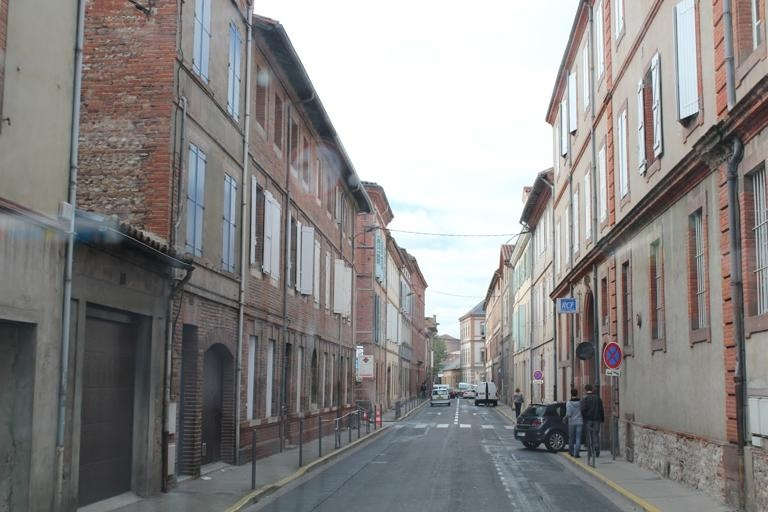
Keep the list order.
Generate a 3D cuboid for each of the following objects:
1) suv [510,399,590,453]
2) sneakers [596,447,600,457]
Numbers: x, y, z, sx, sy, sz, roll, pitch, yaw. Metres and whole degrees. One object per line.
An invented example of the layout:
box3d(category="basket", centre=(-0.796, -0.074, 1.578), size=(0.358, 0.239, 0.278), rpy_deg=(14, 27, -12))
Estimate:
box3d(category="suv", centre=(6.090, 6.331, 28.697), size=(2.141, 1.288, 1.365), rpy_deg=(2, -12, -23))
box3d(category="sneakers", centre=(7.301, 6.700, 26.664), size=(0.105, 0.244, 0.409), rpy_deg=(-1, -61, 4))
